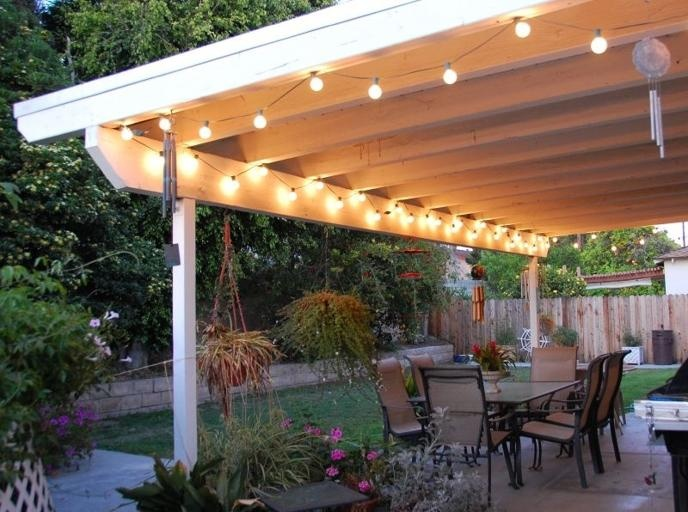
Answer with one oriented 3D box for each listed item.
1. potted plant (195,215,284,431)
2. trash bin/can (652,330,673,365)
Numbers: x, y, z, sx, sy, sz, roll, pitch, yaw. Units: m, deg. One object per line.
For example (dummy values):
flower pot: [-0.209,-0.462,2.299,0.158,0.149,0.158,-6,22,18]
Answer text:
potted plant: [-0.881,0.537,4.442,0.759,1.546,0.655,-3,1,-40]
trash bin/can: [7.540,2.145,12.963,0.423,0.799,0.276,-5,-7,22]
